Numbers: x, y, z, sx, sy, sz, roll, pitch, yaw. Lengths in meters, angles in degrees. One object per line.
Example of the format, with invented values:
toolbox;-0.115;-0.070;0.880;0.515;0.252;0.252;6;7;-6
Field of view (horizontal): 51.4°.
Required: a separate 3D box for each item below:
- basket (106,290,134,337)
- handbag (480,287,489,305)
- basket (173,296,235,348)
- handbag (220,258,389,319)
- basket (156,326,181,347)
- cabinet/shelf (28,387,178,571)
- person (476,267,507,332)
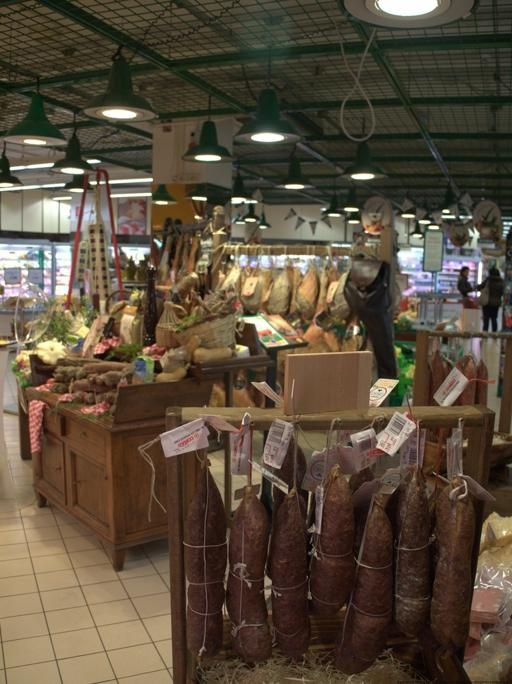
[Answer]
basket;-1.104;-0.250;4.268;0.215;0.351;1.184;-3;6;-14
handbag;4.524;-0.904;10.657;0.132;0.421;0.348;2;-5;9
basket;-0.276;-0.107;3.249;0.295;0.295;0.340;-5;-3;44
handbag;0.507;-0.545;5.598;1.530;0.637;0.588;2;3;11
basket;-0.556;-0.031;3.279;0.142;0.129;0.137;1;-1;-25
cabinet/shelf;-0.896;0.816;3.148;0.477;0.772;1.224;2;-1;-32
person;4.776;-0.878;10.937;0.457;1.335;0.851;1;6;23
